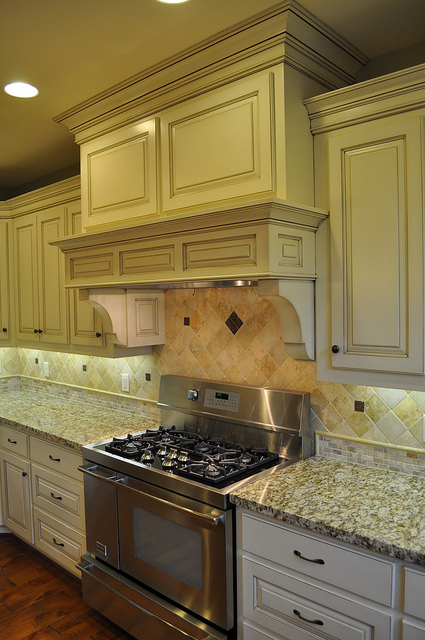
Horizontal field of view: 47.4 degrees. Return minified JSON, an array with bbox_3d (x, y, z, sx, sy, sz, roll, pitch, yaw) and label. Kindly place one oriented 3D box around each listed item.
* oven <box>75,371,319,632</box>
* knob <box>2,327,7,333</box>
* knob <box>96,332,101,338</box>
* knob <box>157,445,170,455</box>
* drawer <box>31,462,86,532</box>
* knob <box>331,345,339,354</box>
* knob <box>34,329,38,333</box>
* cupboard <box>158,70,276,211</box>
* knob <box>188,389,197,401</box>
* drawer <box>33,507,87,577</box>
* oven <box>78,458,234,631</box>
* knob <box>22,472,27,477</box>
[{"bbox_3d":[-0.092,0.806,2.102,0.949,0.874,0.620,-2,2,45],"label":"oven"},{"bbox_3d":[-1.535,0.077,3.557,0.034,0.034,0.012,5,2,-6],"label":"knob"},{"bbox_3d":[-0.649,0.087,2.735,0.034,0.035,0.010,-2,-1,38],"label":"knob"},{"bbox_3d":[-0.212,0.566,2.094,0.031,0.018,0.031,0,-5,25],"label":"knob"},{"bbox_3d":[-0.792,0.924,2.515,0.391,0.244,0.246,7,-1,41],"label":"drawer"},{"bbox_3d":[0.428,0.104,1.693,0.023,0.024,0.015,-4,-8,4],"label":"knob"},{"bbox_3d":[-1.218,0.081,3.320,0.025,0.025,0.008,9,2,1],"label":"knob"},{"bbox_3d":[0.046,-0.619,1.849,0.513,0.454,0.232,7,12,42],"label":"cupboard"},{"bbox_3d":[-0.100,0.371,2.371,0.032,0.059,0.057,-1,3,-37],"label":"knob"},{"bbox_3d":[-0.809,1.169,2.554,0.216,0.300,0.302,-1,4,-43],"label":"drawer"},{"bbox_3d":[-0.120,0.850,2.050,0.827,0.533,0.559,1,1,39],"label":"oven"},{"bbox_3d":[-1.102,0.903,2.819,0.017,0.025,0.006,4,-16,0],"label":"knob"}]
